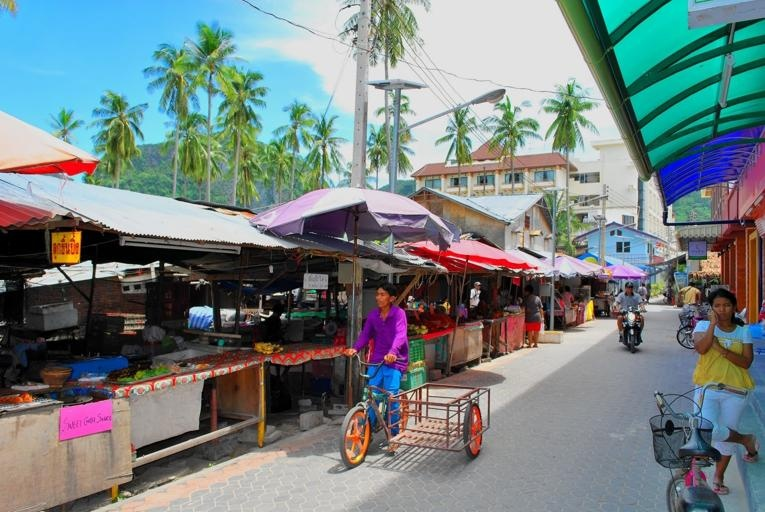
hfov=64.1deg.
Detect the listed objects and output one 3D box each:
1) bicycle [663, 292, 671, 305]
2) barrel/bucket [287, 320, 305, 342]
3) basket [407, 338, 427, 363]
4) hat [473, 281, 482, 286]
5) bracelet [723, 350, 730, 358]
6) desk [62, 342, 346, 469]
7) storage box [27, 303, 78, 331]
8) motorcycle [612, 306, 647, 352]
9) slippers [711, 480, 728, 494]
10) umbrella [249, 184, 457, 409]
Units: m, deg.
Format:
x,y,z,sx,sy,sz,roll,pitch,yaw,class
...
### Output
x,y,z,sx,sy,sz,roll,pitch,yaw,class
25.610,3.925,54.947,0.628,0.831,0.822,-5,-2,15,bicycle
-2.001,1.678,13.937,0.370,0.550,0.523,-1,-3,18,barrel/bucket
0.755,2.126,13.648,0.444,0.823,0.457,-1,-7,4,basket
4.046,1.191,26.309,0.242,0.120,0.365,-12,-7,-19,hat
4.637,1.342,8.292,0.097,0.079,0.022,0,3,28,bracelet
-2.763,2.762,11.572,1.630,1.775,4.910,-3,2,39,desk
-7.821,1.473,14.535,0.698,0.522,0.974,-1,0,-38,storage box
8.114,2.444,20.130,0.619,1.419,1.202,0,3,21,motorcycle
4.723,3.294,8.660,0.196,0.120,0.443,-4,-17,10,slippers
-0.619,1.044,13.325,5.421,3.485,5.560,2,3,7,umbrella
